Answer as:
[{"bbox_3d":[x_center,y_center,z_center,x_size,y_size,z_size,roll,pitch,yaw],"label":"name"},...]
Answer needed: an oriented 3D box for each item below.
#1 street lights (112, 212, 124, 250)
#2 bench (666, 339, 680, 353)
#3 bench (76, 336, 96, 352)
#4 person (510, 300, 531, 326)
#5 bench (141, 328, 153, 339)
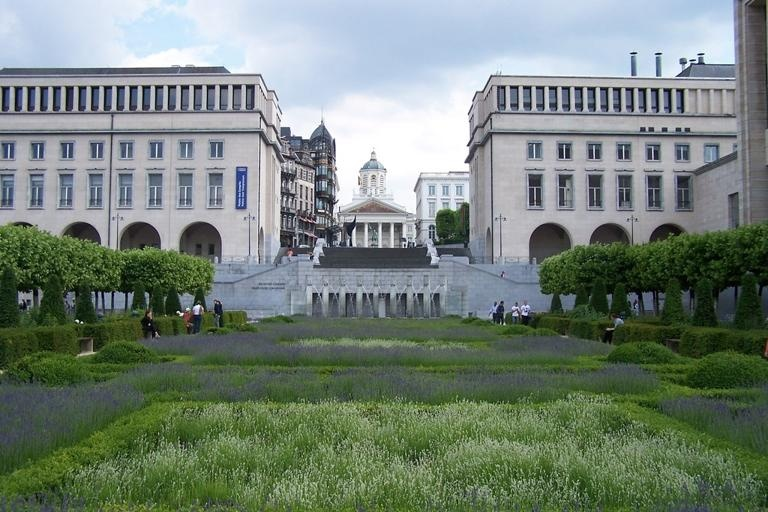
[{"bbox_3d":[-23.121,-2.194,86.257,0.898,3.074,0.852,0,-2,13],"label":"street lights"},{"bbox_3d":[14.497,4.512,50.274,0.620,0.663,0.656,3,8,19],"label":"bench"},{"bbox_3d":[-15.128,4.506,50.539,0.573,0.802,1.093,-1,-2,19],"label":"bench"},{"bbox_3d":[9.057,3.850,66.653,1.170,1.783,0.717,0,-10,4],"label":"person"},{"bbox_3d":[-12.506,4.108,52.751,0.205,0.727,0.361,36,39,29],"label":"bench"}]
